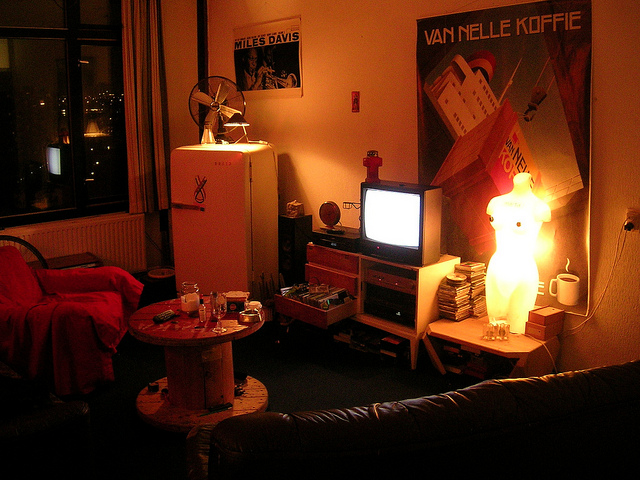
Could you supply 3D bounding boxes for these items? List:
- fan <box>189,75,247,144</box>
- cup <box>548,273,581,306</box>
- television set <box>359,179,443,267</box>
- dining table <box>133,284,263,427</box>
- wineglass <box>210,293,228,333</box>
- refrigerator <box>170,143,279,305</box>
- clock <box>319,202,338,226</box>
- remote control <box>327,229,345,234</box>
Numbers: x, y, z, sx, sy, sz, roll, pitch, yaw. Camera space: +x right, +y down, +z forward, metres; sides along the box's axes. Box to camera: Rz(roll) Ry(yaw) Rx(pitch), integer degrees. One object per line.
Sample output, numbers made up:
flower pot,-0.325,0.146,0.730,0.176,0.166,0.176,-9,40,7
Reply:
fan,-0.986,-1.273,5.258,0.522,0.686,0.295,3,30,-1
cup,1.795,0.364,3.938,0.229,0.208,0.154,-3,12,20
television set,0.642,-0.128,4.225,0.589,0.625,0.330,7,9,40
dining table,-0.849,0.734,3.711,0.906,0.691,0.941,-4,19,-16
wineglass,-0.680,0.465,3.628,0.111,0.205,0.400,-6,9,-12
refrigerator,-0.870,-0.136,5.002,1.011,1.476,0.546,-6,8,-9
clock,0.076,-0.233,4.751,0.191,0.256,0.053,4,6,37
remote control,0.137,-0.073,4.676,0.146,0.036,0.101,-5,9,-1
